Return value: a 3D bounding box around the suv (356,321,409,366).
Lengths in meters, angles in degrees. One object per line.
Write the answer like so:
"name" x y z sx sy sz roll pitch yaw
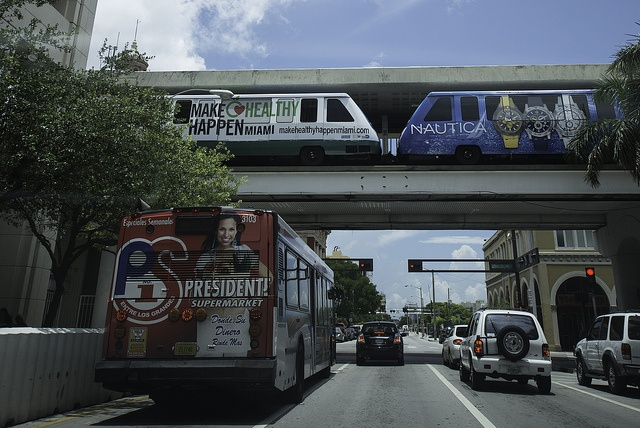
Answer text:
"suv" 2.991 6.518 23.590 1.816 1.800 4.309 -1 -5 8

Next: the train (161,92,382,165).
"train" -1.947 -4.524 23.171 9.065 3.526 0.744 -2 -13 2
